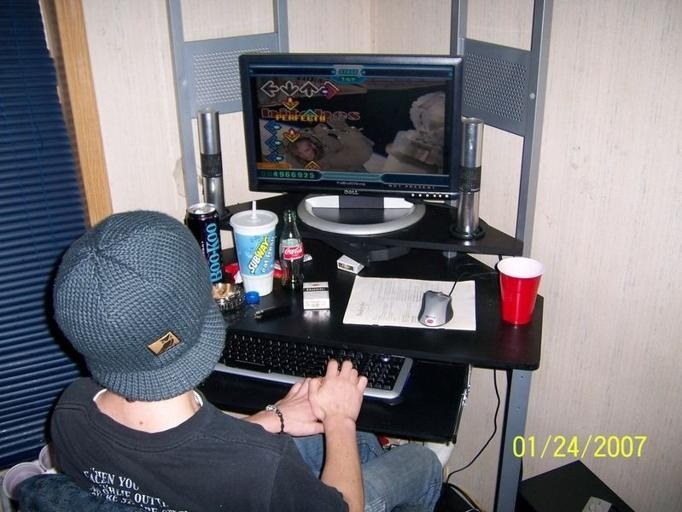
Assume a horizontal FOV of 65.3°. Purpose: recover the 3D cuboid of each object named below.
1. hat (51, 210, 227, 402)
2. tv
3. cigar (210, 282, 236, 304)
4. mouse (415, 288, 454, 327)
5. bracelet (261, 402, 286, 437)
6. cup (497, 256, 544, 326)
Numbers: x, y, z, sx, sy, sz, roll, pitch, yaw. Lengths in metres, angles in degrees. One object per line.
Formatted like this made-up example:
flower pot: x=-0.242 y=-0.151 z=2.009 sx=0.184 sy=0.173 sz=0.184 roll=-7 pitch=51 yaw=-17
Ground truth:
hat: x=-0.388 y=0.118 z=1.047 sx=0.285 sy=0.377 sz=0.208 roll=-26 pitch=-15 yaw=-24
tv: x=0.042 y=-0.362 z=1.714 sx=0.658 sy=0.456 sz=0.192 roll=2 pitch=25 yaw=7
cigar: x=-0.355 y=0.115 z=1.594 sx=0.071 sy=0.022 sz=0.068 roll=-1 pitch=40 yaw=-6
mouse: x=0.282 y=0.148 z=1.581 sx=0.108 sy=0.041 sz=0.135 roll=10 pitch=45 yaw=20
bracelet: x=-0.186 y=0.444 z=1.448 sx=0.049 sy=0.064 sz=0.020 roll=-19 pitch=-4 yaw=30
cup: x=0.529 y=0.101 z=1.597 sx=0.128 sy=0.176 sz=0.191 roll=5 pitch=21 yaw=17
